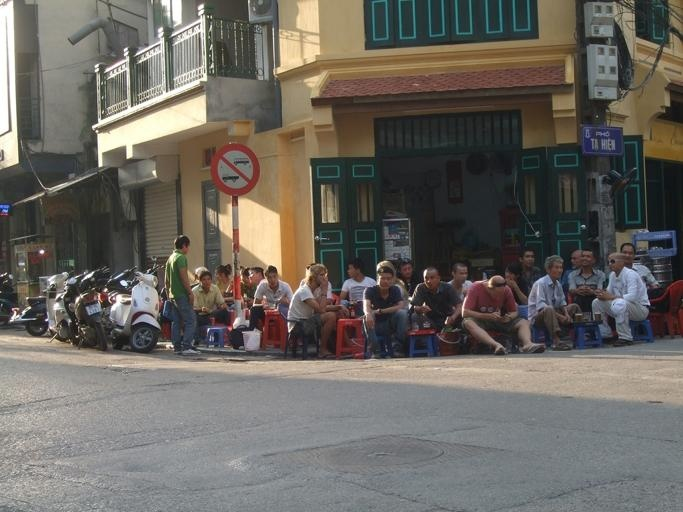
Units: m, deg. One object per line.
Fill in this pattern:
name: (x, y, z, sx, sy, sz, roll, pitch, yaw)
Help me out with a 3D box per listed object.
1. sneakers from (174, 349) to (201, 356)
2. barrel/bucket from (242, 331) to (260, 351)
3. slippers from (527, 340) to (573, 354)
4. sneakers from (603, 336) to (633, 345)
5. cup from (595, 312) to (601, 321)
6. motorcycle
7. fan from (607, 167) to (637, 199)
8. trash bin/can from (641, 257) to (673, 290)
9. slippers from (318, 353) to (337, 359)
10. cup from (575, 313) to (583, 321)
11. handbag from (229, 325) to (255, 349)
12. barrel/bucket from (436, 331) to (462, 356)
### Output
sneakers: (-2.630, 1.653, 15.286, 0.452, 0.197, 0.158, -2, -3, 9)
barrel/bucket: (-1.547, 1.466, 15.406, 0.310, 0.296, 0.285, -1, -6, 0)
slippers: (3.238, 1.404, 13.888, 1.037, 0.143, 0.297, 0, -4, -35)
sneakers: (4.445, 1.385, 14.426, 0.152, 0.204, 0.447, 3, -7, -39)
cup: (4.076, 0.968, 14.265, 0.106, 0.123, 0.110, -3, -2, 0)
motorcycle: (-4.436, 1.003, 16.655, 1.495, 1.577, 2.650, 0, -4, -30)
fan: (5.385, -1.433, 17.171, 0.418, 0.563, 0.912, -4, -4, 30)
trash bin/can: (5.982, 0.310, 16.827, 0.567, 0.894, 0.590, -3, 1, 16)
slippers: (-0.235, 1.638, 14.665, 0.267, 0.113, 0.100, -1, -2, -7)
cup: (3.785, 0.977, 14.235, 0.115, 0.124, 0.120, -1, -5, 0)
handbag: (-1.781, 1.455, 15.854, 0.411, 0.429, 0.342, 2, -6, -5)
barrel/bucket: (1.717, 1.376, 14.193, 0.362, 0.318, 0.362, 0, -2, 0)
